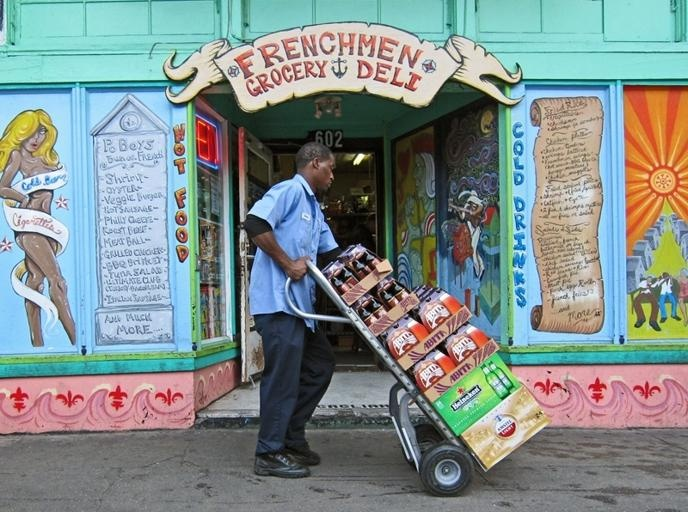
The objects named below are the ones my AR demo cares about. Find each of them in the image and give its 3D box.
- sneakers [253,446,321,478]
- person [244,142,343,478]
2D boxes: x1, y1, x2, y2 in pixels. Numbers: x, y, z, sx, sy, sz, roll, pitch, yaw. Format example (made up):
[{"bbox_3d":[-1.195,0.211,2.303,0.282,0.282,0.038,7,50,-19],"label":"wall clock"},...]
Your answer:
[{"bbox_3d":[-0.510,1.817,8.060,0.605,0.304,0.214,-3,2,0],"label":"sneakers"},{"bbox_3d":[-0.460,0.462,8.099,0.725,2.810,1.031,4,13,15],"label":"person"}]
